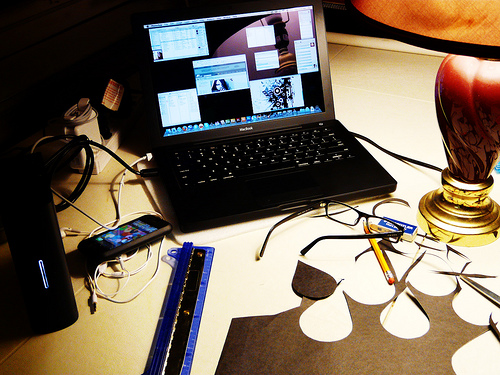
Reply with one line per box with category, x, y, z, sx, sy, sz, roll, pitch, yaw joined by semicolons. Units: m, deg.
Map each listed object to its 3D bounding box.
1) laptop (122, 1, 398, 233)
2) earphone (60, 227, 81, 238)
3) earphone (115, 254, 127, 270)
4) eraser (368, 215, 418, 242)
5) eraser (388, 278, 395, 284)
laptop;-0.012;-0.092;0.904;0.525;0.329;0.487;-14;49;-15
earphone;-0.325;0.080;0.725;0.013;0.014;0.050;20;10;42
earphone;-0.215;0.123;0.676;0.013;0.006;0.024;3;37;-16
eraser;0.250;0.071;0.712;0.070;0.017;0.037;18;36;28
eraser;0.223;0.146;0.640;0.012;0.006;0.008;-14;49;0
